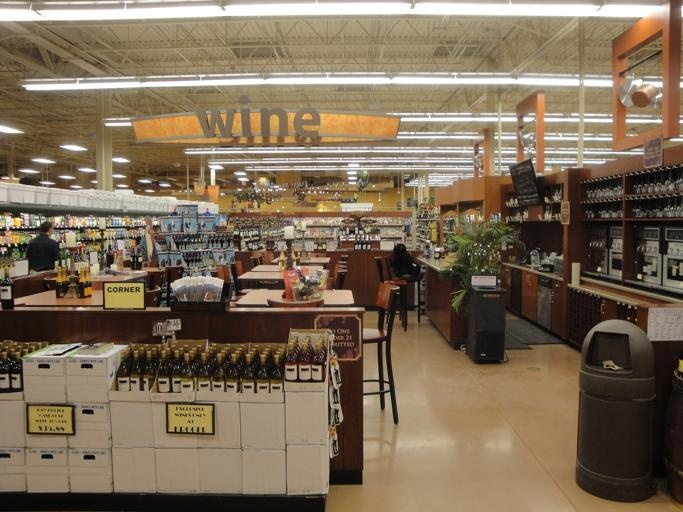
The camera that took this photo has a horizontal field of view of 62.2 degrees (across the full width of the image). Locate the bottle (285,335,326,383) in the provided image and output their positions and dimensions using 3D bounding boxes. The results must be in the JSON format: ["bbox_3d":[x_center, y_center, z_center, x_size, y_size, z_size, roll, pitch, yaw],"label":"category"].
[{"bbox_3d":[-0.288,0.860,5.005,0.411,0.648,0.339,0,-4,-5],"label":"bottle"}]

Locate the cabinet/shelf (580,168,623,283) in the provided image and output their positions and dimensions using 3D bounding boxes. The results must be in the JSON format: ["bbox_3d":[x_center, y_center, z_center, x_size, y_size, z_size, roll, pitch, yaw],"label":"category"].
[{"bbox_3d":[4.165,-0.440,8.824,0.423,1.541,1.009,-4,6,-3],"label":"cabinet/shelf"}]

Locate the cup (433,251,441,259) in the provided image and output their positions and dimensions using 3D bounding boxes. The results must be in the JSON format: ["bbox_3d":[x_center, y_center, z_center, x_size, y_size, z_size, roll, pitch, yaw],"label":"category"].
[{"bbox_3d":[1.966,0.004,11.502,0.179,0.193,0.098,-1,0,3],"label":"cup"}]

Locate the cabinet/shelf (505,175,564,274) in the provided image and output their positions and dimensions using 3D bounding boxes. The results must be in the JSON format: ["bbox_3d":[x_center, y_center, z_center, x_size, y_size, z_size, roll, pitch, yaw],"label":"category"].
[{"bbox_3d":[3.813,-0.592,10.994,0.523,1.857,1.894,0,4,4],"label":"cabinet/shelf"}]

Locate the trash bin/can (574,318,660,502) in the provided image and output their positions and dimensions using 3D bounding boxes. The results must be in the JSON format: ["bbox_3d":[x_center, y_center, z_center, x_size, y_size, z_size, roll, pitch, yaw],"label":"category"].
[{"bbox_3d":[2.559,1.438,5.296,0.694,1.618,0.367,-1,6,18],"label":"trash bin/can"}]

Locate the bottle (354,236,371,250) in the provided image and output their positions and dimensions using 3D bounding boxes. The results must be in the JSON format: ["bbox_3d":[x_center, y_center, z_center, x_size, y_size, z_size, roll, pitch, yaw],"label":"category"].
[{"bbox_3d":[0.536,-0.264,13.105,0.340,0.234,0.349,0,12,0],"label":"bottle"}]

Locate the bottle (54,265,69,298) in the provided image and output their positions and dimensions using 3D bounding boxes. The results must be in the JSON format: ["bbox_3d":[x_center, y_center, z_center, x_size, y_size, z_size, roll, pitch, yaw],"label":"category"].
[{"bbox_3d":[-3.349,0.322,6.799,0.128,0.136,0.353,1,40,-10],"label":"bottle"}]
